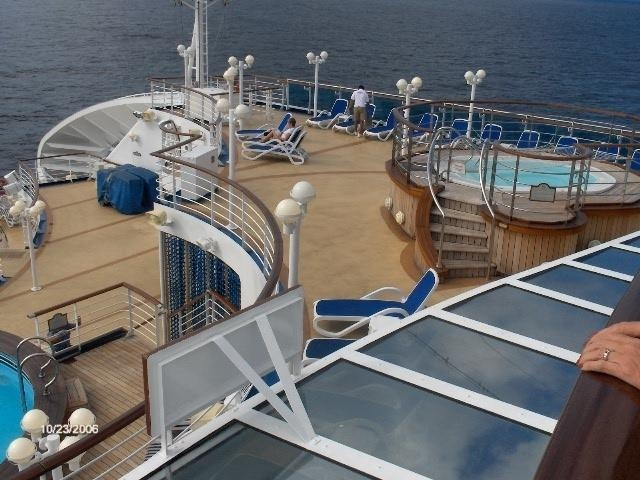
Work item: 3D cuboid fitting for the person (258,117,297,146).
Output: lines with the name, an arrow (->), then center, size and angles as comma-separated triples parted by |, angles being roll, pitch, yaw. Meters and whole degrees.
person -> -1.064, -2.864, 14.409 | 0.871, 0.647, 1.396 | 1, 18, -6

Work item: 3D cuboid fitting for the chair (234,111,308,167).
chair -> -1.033, -2.629, 14.521 | 2.054, 1.096, 1.125 | 3, 36, 6

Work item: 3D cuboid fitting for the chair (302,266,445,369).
chair -> 0.563, 0.955, 6.902 | 1.794, 0.888, 0.857 | -4, 30, -2
